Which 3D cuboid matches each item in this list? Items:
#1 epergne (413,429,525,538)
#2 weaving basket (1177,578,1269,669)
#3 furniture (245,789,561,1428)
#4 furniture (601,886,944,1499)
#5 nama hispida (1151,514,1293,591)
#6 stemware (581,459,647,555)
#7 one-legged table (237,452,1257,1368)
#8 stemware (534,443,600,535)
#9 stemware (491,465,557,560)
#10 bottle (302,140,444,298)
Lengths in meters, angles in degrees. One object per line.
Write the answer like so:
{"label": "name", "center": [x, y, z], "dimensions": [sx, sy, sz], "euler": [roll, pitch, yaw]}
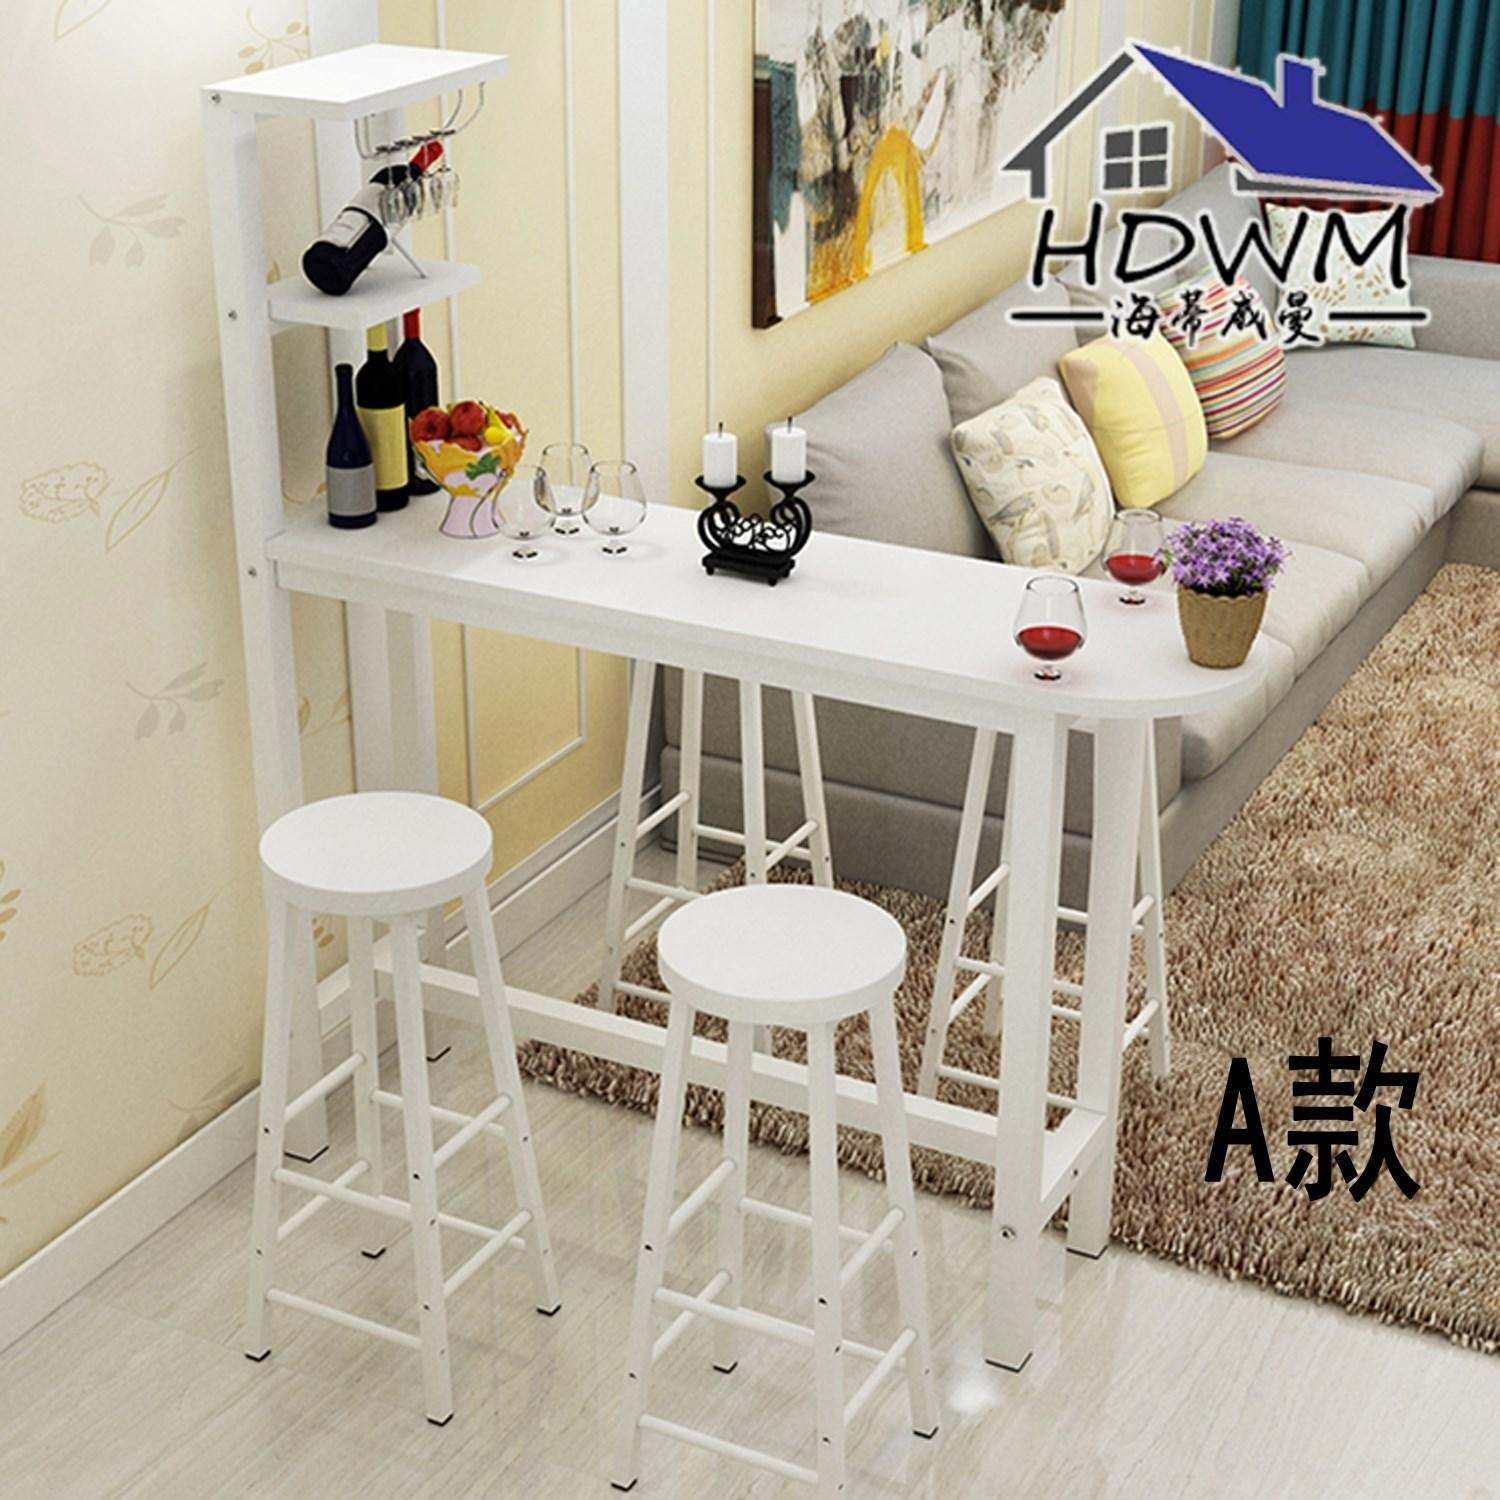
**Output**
{"label": "epergne", "center": [-0.387, -0.374, 1.919], "dimensions": [0.128, 0.140, 0.140], "euler": [-2, 28, -11]}
{"label": "weaving basket", "center": [0.520, -0.138, 1.556], "dimensions": [0.092, 0.086, 0.062], "euler": [6, 27, 16]}
{"label": "furniture", "center": [-0.452, 0.438, 1.761], "dimensions": [0.412, 0.662, 0.415], "euler": [-5, 3, -23]}
{"label": "furniture", "center": [0.036, 0.537, 1.637], "dimensions": [0.379, 0.764, 0.491], "euler": [1, 26, 6]}
{"label": "nama hispida", "center": [0.534, -0.215, 1.617], "dimensions": [0.129, 0.070, 0.129], "euler": [-10, 39, -9]}
{"label": "stemware", "center": [-0.173, -0.338, 1.924], "dimensions": [0.111, 0.148, 0.123], "euler": [0, 30, -3]}
{"label": "one-legged table", "center": [-0.032, 0.268, 2.002], "dimensions": [1.216, 0.875, 0.386], "euler": [15, 33, 26]}
{"label": "stemware", "center": [-0.251, -0.363, 1.917], "dimensions": [0.098, 0.137, 0.116], "euler": [-1, 31, -5]}
{"label": "stemware", "center": [-0.303, -0.315, 1.851], "dimensions": [0.079, 0.109, 0.080], "euler": [15, 36, 17]}
{"label": "bottle", "center": [-0.487, -0.677, 1.801], "dimensions": [0.076, 0.145, 0.192], "euler": [18, 32, 35]}
